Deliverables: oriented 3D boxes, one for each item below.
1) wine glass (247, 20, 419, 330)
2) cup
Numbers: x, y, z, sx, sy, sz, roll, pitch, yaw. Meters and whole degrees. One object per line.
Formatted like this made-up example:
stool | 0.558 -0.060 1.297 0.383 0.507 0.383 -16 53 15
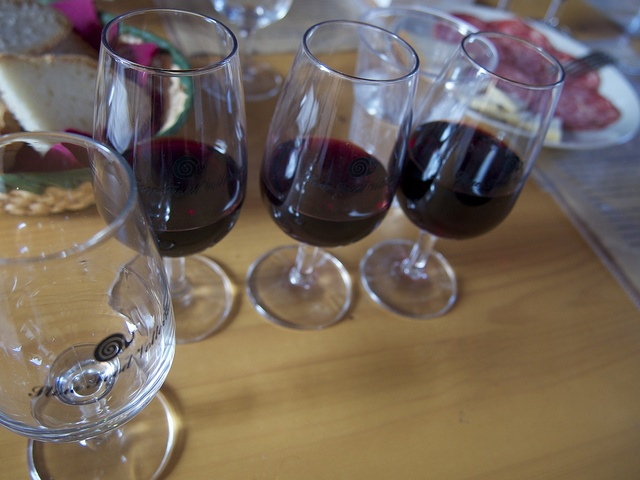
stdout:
wine glass | 0.005 -0.058 0.694 0.161 0.352 0.147 -6 49 -20
cup | 0.149 -0.239 0.990 0.224 0.158 0.234 5 58 -9
